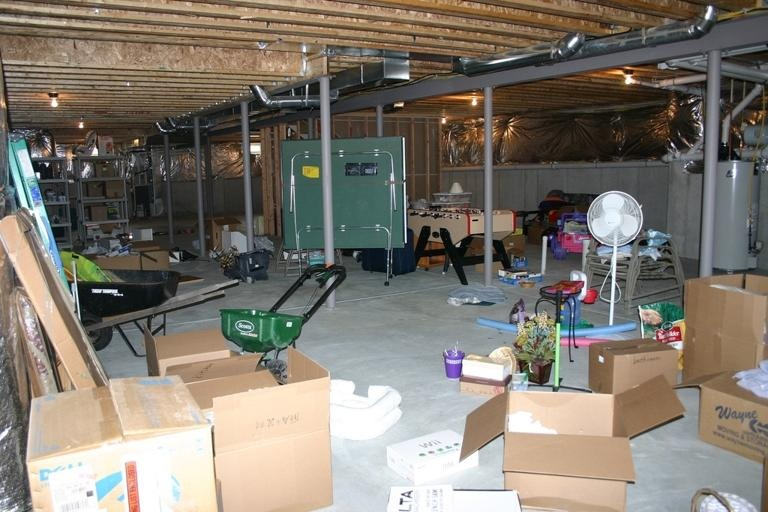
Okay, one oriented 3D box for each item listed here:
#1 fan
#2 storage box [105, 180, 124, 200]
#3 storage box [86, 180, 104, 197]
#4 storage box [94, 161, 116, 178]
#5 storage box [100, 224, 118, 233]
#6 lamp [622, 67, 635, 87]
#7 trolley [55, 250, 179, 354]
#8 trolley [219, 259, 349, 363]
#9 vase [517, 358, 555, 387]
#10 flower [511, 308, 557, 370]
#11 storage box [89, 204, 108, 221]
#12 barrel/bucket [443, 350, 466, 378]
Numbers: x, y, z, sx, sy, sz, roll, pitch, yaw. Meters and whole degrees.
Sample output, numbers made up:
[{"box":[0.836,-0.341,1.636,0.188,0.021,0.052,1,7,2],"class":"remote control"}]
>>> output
[{"box":[2.847,0.029,6.855,0.571,1.683,1.030,0,11,24],"class":"fan"},{"box":[-6.891,-1.696,14.304,0.505,0.433,0.497,-3,4,-40],"class":"storage box"},{"box":[-7.316,-1.694,14.224,0.467,0.397,0.378,-1,2,-30],"class":"storage box"},{"box":[-7.051,-2.187,14.209,0.515,0.429,0.469,-1,6,-4],"class":"storage box"},{"box":[-7.890,-0.809,16.023,0.539,0.257,0.336,-8,9,-1],"class":"storage box"},{"box":[4.598,-3.363,10.437,0.305,0.299,0.288,-6,9,-16],"class":"lamp"},{"box":[-3.139,0.438,6.570,1.349,0.868,0.850,-1,20,2],"class":"trolley"},{"box":[-0.919,0.581,5.671,0.728,0.790,1.275,5,12,36],"class":"trolley"},{"box":[1.489,1.133,5.530,0.247,0.184,0.283,1,5,35],"class":"vase"},{"box":[1.487,0.799,5.493,0.521,0.592,0.481,3,13,9],"class":"flower"},{"box":[-7.371,-1.140,14.455,0.451,0.385,0.426,-2,3,-15],"class":"storage box"},{"box":[0.697,1.084,5.575,0.272,0.248,0.257,-1,-4,0],"class":"barrel/bucket"}]
